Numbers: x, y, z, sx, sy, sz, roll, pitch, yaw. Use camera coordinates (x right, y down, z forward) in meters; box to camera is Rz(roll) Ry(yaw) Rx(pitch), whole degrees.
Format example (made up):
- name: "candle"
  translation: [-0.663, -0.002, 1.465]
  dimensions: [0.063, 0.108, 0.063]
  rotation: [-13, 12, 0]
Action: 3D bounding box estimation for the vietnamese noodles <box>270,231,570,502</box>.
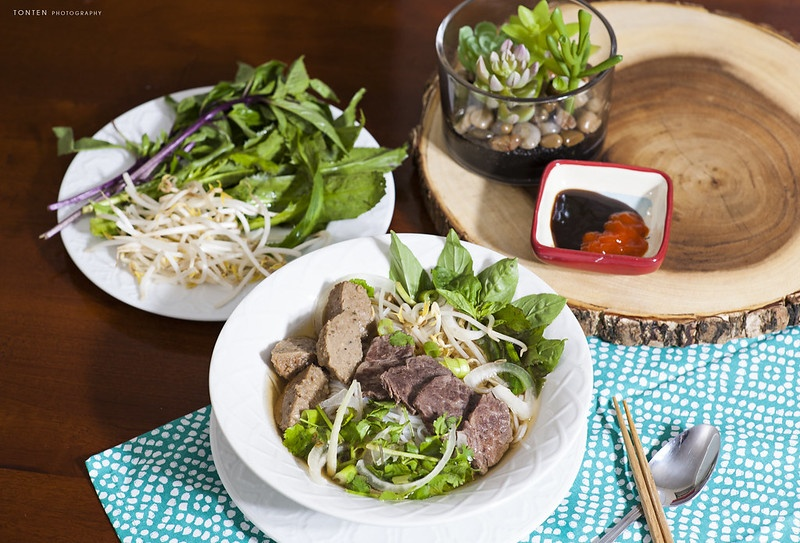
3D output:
- name: "vietnamese noodles"
  translation: [0.082, 0.358, 2.004]
  dimensions: [0.255, 0.681, 0.753]
  rotation: [3, 58, 30]
